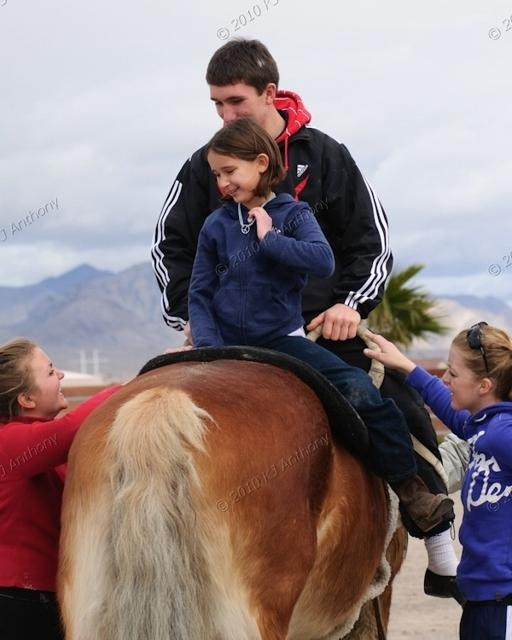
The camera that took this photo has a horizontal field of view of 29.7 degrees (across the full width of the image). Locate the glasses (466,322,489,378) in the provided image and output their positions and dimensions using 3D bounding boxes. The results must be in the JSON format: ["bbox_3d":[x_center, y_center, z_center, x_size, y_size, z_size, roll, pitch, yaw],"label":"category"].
[{"bbox_3d":[0.818,0.091,3.585,0.057,0.144,0.163,-9,20,-11],"label":"glasses"}]

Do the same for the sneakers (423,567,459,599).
[{"bbox_3d":[0.852,1.208,4.446,0.196,0.123,0.134,0,-2,10],"label":"sneakers"}]
